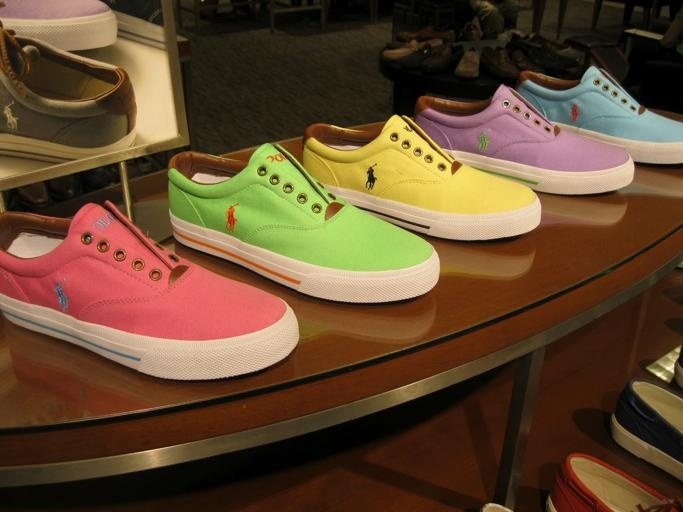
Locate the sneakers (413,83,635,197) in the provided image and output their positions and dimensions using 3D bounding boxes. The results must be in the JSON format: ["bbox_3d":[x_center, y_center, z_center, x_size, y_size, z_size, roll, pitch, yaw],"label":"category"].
[{"bbox_3d":[0.284,-0.217,1.064,0.472,0.172,0.171,14,37,13],"label":"sneakers"}]

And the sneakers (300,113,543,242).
[{"bbox_3d":[0.095,-0.137,0.945,0.444,0.163,0.175,16,36,17],"label":"sneakers"}]

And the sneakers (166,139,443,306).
[{"bbox_3d":[-0.111,-0.051,0.850,0.485,0.193,0.179,16,37,15],"label":"sneakers"}]
